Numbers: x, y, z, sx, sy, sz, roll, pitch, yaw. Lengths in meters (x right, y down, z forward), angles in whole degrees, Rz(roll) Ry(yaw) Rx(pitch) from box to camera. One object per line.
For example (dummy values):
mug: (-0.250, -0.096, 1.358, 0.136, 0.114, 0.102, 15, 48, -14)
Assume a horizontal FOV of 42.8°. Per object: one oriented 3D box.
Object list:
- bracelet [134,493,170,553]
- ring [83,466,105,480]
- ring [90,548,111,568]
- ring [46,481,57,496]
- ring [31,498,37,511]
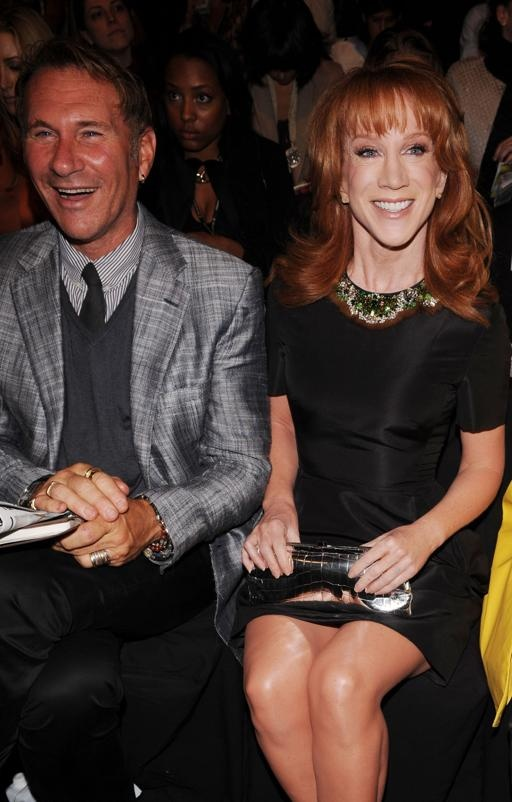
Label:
bracelet: (-0.180, 0.229, 1.259, 0.038, 0.096, 0.081, -19, 5, -18)
ring: (-0.304, 0.134, 1.212, 0.024, 0.008, 0.023, 6, 43, -5)
ring: (-0.277, 0.281, 1.167, 0.033, 0.038, 0.031, -8, 3, 0)
ring: (-0.372, 0.160, 1.191, 0.007, 0.017, 0.024, 22, 7, -33)
ring: (-0.396, 0.185, 1.171, 0.010, 0.017, 0.013, 8, -12, -36)
